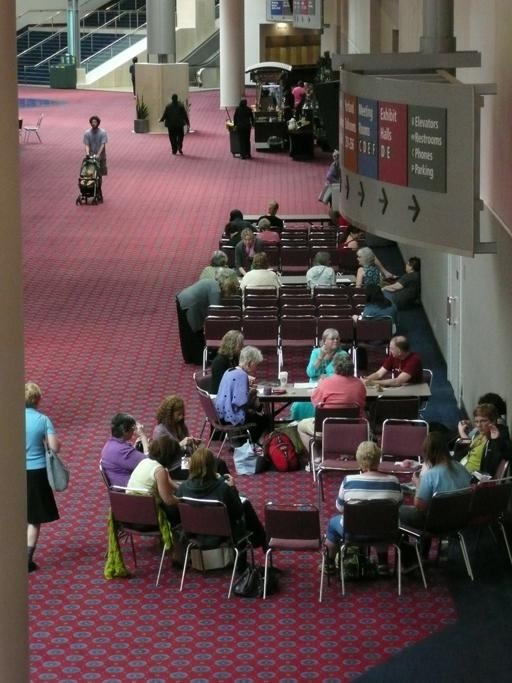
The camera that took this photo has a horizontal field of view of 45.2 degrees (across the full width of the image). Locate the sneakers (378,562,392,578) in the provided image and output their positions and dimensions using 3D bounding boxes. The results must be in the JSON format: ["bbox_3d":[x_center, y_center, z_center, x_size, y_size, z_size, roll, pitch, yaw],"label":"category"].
[{"bbox_3d":[0.986,1.775,4.746,0.058,0.068,0.157,0,8,-4],"label":"sneakers"}]

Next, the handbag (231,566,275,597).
[{"bbox_3d":[0.003,1.788,4.591,0.360,0.178,0.184,-3,11,-16],"label":"handbag"}]

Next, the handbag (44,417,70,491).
[{"bbox_3d":[-1.587,0.932,4.887,0.221,0.570,0.152,9,14,40],"label":"handbag"}]

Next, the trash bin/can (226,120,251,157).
[{"bbox_3d":[-0.613,-7.515,22.831,1.285,1.450,1.209,-1,31,0],"label":"trash bin/can"}]

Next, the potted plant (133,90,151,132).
[{"bbox_3d":[-4.858,-9.668,26.143,0.632,1.575,0.532,-2,11,-11],"label":"potted plant"}]

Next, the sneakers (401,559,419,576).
[{"bbox_3d":[1.199,1.779,4.835,0.118,0.063,0.159,2,10,14],"label":"sneakers"}]

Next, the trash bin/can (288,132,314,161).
[{"bbox_3d":[1.673,-7.450,23.309,0.903,1.054,1.070,0,1,-2],"label":"trash bin/can"}]

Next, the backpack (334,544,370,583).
[{"bbox_3d":[0.756,1.706,4.762,0.208,0.112,0.308,3,24,1],"label":"backpack"}]

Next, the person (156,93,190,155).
[{"bbox_3d":[-3.031,-8.124,23.081,0.918,2.140,1.459,-2,10,-6],"label":"person"}]

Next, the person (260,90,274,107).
[{"bbox_3d":[0.383,-9.634,24.341,0.591,0.755,0.343,-1,10,-6],"label":"person"}]

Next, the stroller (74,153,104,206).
[{"bbox_3d":[-4.809,-4.706,17.768,0.886,1.320,0.827,-12,27,-28],"label":"stroller"}]

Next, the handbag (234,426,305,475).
[{"bbox_3d":[0.136,1.224,6.750,0.634,0.303,0.433,-8,23,-2],"label":"handbag"}]
